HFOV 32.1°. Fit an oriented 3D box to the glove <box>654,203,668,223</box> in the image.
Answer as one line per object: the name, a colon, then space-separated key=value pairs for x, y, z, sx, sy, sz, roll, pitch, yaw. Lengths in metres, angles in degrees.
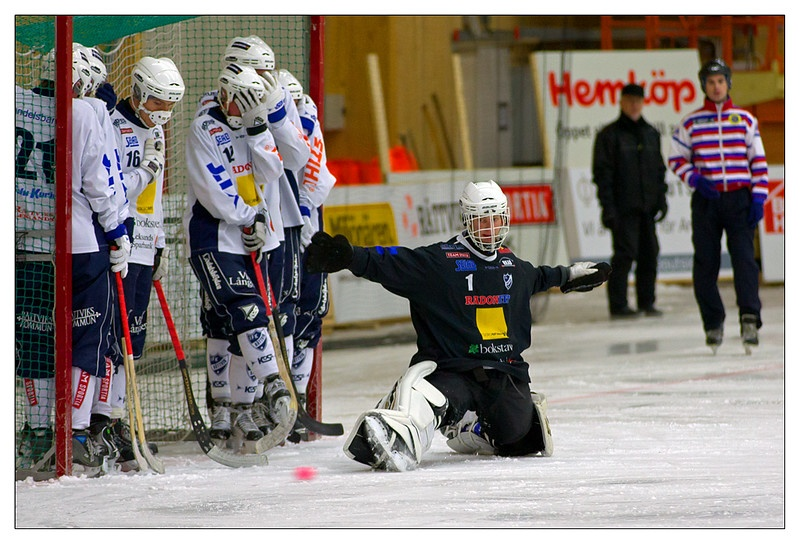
glove: x=2.953 y=-0.678 z=15.726 sx=0.051 sy=0.215 sz=0.223 roll=19 pitch=23 yaw=-9

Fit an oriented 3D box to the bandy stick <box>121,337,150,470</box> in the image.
bandy stick: x=-1.976 y=1.022 z=10.329 sx=0.160 sy=1.199 sz=0.127 roll=-6 pitch=-16 yaw=-12

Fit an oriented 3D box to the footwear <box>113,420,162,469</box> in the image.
footwear: x=-2.042 y=1.351 z=10.530 sx=0.148 sy=0.310 sz=0.446 roll=-20 pitch=-6 yaw=9

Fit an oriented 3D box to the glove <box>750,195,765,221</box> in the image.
glove: x=3.300 y=-0.587 z=12.808 sx=0.061 sy=0.215 sz=0.153 roll=9 pitch=3 yaw=44

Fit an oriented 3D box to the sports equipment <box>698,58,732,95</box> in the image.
sports equipment: x=2.947 y=-1.878 z=12.984 sx=0.261 sy=0.334 sz=0.326 roll=-2 pitch=-25 yaw=7

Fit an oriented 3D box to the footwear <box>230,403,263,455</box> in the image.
footwear: x=-1.217 y=1.168 z=10.875 sx=0.167 sy=0.298 sz=0.464 roll=0 pitch=7 yaw=-25

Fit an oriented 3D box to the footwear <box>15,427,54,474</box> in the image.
footwear: x=-2.618 y=1.276 z=10.131 sx=0.058 sy=0.321 sz=0.286 roll=17 pitch=9 yaw=-31

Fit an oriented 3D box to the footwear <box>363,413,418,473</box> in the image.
footwear: x=-0.095 y=1.253 z=10.101 sx=0.279 sy=0.454 sz=0.169 roll=-47 pitch=-7 yaw=22

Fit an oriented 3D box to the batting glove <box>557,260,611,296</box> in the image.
batting glove: x=1.461 y=0.014 z=10.818 sx=0.269 sy=0.114 sz=0.279 roll=-24 pitch=1 yaw=1

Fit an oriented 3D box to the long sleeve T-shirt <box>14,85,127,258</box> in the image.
long sleeve T-shirt: x=-2.428 y=-0.694 z=10.079 sx=1.240 sy=1.375 sz=0.567 roll=0 pitch=1 yaw=23

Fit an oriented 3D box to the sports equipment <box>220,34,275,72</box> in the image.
sports equipment: x=-1.208 y=-1.680 z=10.726 sx=0.371 sy=0.248 sz=0.288 roll=9 pitch=6 yaw=30

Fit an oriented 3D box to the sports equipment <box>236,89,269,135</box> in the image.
sports equipment: x=-1.106 y=-1.189 z=10.517 sx=0.223 sy=0.329 sz=0.296 roll=-3 pitch=-3 yaw=14

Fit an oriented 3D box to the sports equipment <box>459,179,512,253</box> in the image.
sports equipment: x=0.677 y=-0.465 z=10.550 sx=0.358 sy=0.506 sz=0.521 roll=-6 pitch=31 yaw=-9

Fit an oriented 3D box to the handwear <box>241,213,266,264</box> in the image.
handwear: x=-1.107 y=-0.251 z=10.519 sx=0.165 sy=0.355 sz=0.134 roll=-3 pitch=10 yaw=7

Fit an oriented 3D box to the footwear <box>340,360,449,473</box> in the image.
footwear: x=0.009 y=1.139 z=10.304 sx=0.516 sy=0.885 sz=0.407 roll=37 pitch=-35 yaw=-1

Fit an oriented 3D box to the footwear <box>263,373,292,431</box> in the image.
footwear: x=-0.996 y=0.980 z=10.706 sx=0.199 sy=0.259 sz=0.625 roll=-2 pitch=-25 yaw=-24

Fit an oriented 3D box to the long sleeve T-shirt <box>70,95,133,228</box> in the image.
long sleeve T-shirt: x=-2.165 y=-0.871 z=10.350 sx=0.272 sy=1.126 sz=0.294 roll=-8 pitch=5 yaw=31

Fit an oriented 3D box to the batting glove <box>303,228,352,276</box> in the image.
batting glove: x=-0.531 y=-0.145 z=10.188 sx=0.315 sy=0.303 sz=0.225 roll=-2 pitch=0 yaw=39

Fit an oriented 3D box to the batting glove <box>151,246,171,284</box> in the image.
batting glove: x=-1.823 y=-0.039 z=10.801 sx=0.077 sy=0.220 sz=0.157 roll=18 pitch=2 yaw=7

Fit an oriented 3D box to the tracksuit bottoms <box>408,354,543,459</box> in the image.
tracksuit bottoms: x=0.730 y=1.024 z=10.416 sx=0.757 sy=0.397 sz=0.651 roll=4 pitch=-19 yaw=9

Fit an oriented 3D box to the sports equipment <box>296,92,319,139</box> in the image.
sports equipment: x=-0.723 y=-1.246 z=11.172 sx=0.150 sy=0.310 sz=0.214 roll=-16 pitch=-25 yaw=24

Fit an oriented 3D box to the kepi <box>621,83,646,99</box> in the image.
kepi: x=2.579 y=-1.996 z=15.354 sx=0.236 sy=0.160 sz=0.276 roll=-3 pitch=0 yaw=8

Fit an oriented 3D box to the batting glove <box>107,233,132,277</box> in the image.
batting glove: x=-2.052 y=-0.109 z=10.195 sx=0.151 sy=0.275 sz=0.085 roll=-7 pitch=4 yaw=-20

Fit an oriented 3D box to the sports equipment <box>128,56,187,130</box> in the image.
sports equipment: x=-1.824 y=-1.361 z=10.447 sx=0.354 sy=0.530 sz=0.245 roll=-2 pitch=0 yaw=29

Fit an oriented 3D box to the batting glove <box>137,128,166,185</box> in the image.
batting glove: x=-1.857 y=-0.873 z=10.556 sx=0.125 sy=0.367 sz=0.210 roll=3 pitch=-23 yaw=31

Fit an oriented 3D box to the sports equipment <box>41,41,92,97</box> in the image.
sports equipment: x=-2.411 y=-1.465 z=10.214 sx=0.386 sy=0.391 sz=0.299 roll=7 pitch=22 yaw=-37
